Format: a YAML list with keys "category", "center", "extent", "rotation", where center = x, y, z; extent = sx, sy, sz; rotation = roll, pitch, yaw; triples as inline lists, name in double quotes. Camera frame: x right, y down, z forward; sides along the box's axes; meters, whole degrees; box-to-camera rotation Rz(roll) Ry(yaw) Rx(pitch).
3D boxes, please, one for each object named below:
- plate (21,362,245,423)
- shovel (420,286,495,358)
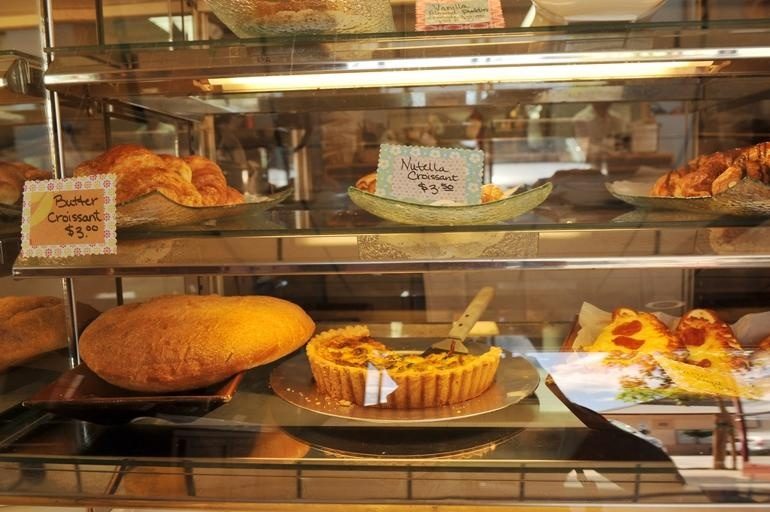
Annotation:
- category: "plate"
  center: [-0.678, 0.376, 1.920]
  extent: [0.391, 0.048, 0.243]
  rotation: [-1, 1, 0]
- category: "shovel"
  center: [0.244, 0.201, 2.127]
  extent: [0.152, 0.303, 0.033]
  rotation: [25, -10, 47]
